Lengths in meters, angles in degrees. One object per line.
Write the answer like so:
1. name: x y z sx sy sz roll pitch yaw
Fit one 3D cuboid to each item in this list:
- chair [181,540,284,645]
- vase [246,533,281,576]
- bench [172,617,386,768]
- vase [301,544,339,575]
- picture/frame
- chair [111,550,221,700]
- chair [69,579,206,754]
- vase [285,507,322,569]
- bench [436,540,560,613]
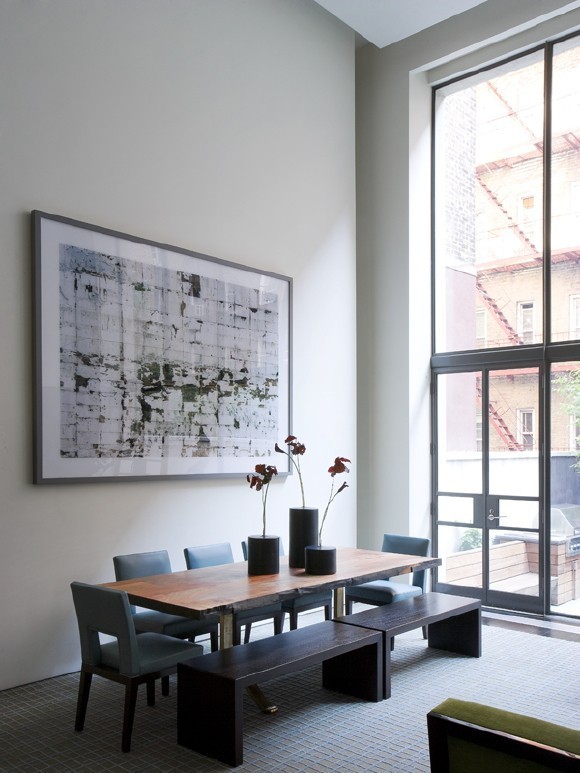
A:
1. chair: -0.363 1.484 4.362 0.537 0.857 0.558 -3 -9 -35
2. vase: -0.137 0.974 3.822 0.205 0.243 0.201 -1 2 -39
3. bench: -0.016 1.511 3.291 0.460 0.398 1.233 -5 -10 40
4. vase: 0.188 1.022 3.846 0.149 0.132 0.154 4 4 33
5. picture/frame: -0.976 -0.287 4.727 0.057 1.651 2.300 -3 -4 40
6. chair: -0.844 1.351 3.881 0.637 0.924 0.592 -5 -7 39
7. chair: -0.725 1.306 3.125 0.415 0.694 0.508 -4 -7 43
8. vase: 0.085 0.941 4.105 0.275 0.368 0.284 0 2 -9
9. bench: 1.999 1.772 6.037 0.241 0.445 0.807 7 -11 -37
